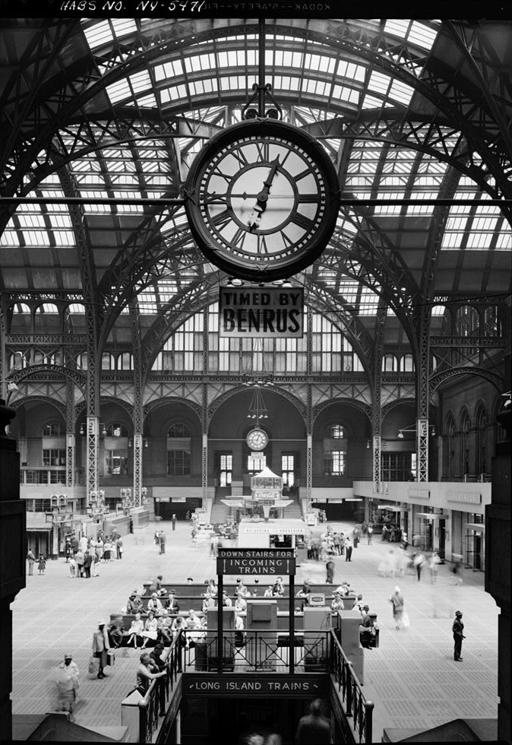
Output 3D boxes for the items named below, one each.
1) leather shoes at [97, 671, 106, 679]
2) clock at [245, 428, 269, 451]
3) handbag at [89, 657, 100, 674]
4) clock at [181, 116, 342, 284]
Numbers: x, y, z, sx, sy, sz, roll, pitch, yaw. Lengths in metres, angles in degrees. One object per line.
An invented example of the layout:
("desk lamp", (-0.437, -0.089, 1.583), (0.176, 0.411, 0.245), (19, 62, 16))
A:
("leather shoes", (-2.913, 5.822, 14.882), (0.143, 0.161, 0.066), (-4, -7, 22))
("clock", (-0.072, 4.693, 51.664), (1.528, 1.747, 0.382), (-15, 6, -28))
("handbag", (-3.116, 5.725, 15.119), (0.128, 0.278, 0.426), (10, -5, -25))
("clock", (0.069, -1.191, 5.604), (1.165, 1.461, 0.200), (0, -29, 2))
